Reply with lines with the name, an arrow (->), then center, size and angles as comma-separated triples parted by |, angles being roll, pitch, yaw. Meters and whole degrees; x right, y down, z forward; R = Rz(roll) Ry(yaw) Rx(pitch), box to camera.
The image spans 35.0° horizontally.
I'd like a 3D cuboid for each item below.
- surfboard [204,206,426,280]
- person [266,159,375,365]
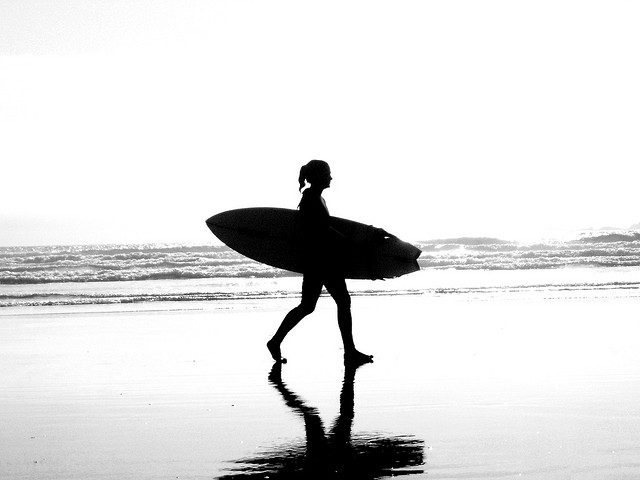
surfboard -> -0.371, 0.004, 11.545 | 3.149, 0.904, 0.327 | 9, -26, 43
person -> -0.011, 0.230, 10.717 | 0.967, 2.158, 0.338 | 4, -6, -2
